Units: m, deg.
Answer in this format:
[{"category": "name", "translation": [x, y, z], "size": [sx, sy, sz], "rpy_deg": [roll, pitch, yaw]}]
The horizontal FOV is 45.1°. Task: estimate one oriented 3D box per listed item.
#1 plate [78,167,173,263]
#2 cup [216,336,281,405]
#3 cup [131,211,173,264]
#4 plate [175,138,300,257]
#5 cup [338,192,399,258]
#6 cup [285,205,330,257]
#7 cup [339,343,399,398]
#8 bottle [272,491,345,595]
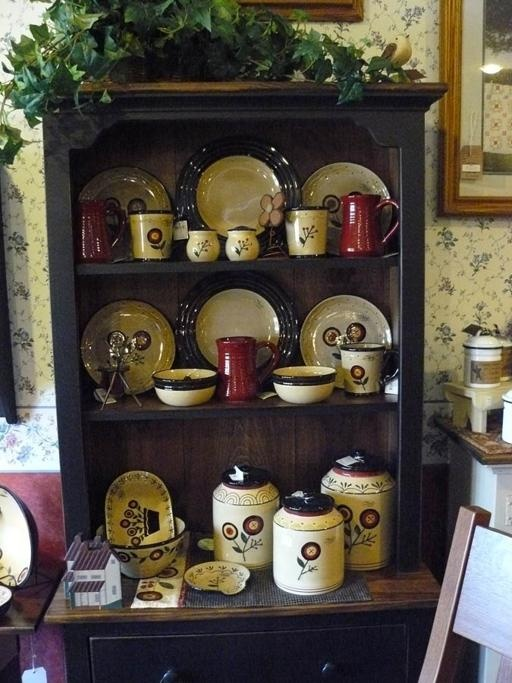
[{"category": "plate", "translation": [-0.305, -0.286, 1.415], "size": [0.254, 0.233, 0.065], "rpy_deg": [-3, 6, -25]}, {"category": "cup", "translation": [-0.031, 0.063, 1.397], "size": [0.175, 0.155, 0.110], "rpy_deg": [0, 1, -20]}, {"category": "cup", "translation": [-0.227, -0.230, 1.415], "size": [0.111, 0.103, 0.098], "rpy_deg": [-3, 2, -13]}, {"category": "plate", "translation": [-0.049, -0.330, 1.507], "size": [0.304, 0.277, 0.070], "rpy_deg": [-6, 14, -5]}, {"category": "cup", "translation": [0.240, -0.258, 1.370], "size": [0.164, 0.142, 0.104], "rpy_deg": [1, 2, 5]}, {"category": "cup", "translation": [0.114, -0.238, 1.366], "size": [0.107, 0.100, 0.101], "rpy_deg": [-1, 4, 0]}, {"category": "cup", "translation": [0.251, 0.063, 1.414], "size": [0.150, 0.100, 0.097], "rpy_deg": [-3, 3, 0]}, {"category": "bottle", "translation": [0.113, 0.432, 1.388], "size": [0.191, 0.202, 0.183], "rpy_deg": [1, 1, -7]}]
